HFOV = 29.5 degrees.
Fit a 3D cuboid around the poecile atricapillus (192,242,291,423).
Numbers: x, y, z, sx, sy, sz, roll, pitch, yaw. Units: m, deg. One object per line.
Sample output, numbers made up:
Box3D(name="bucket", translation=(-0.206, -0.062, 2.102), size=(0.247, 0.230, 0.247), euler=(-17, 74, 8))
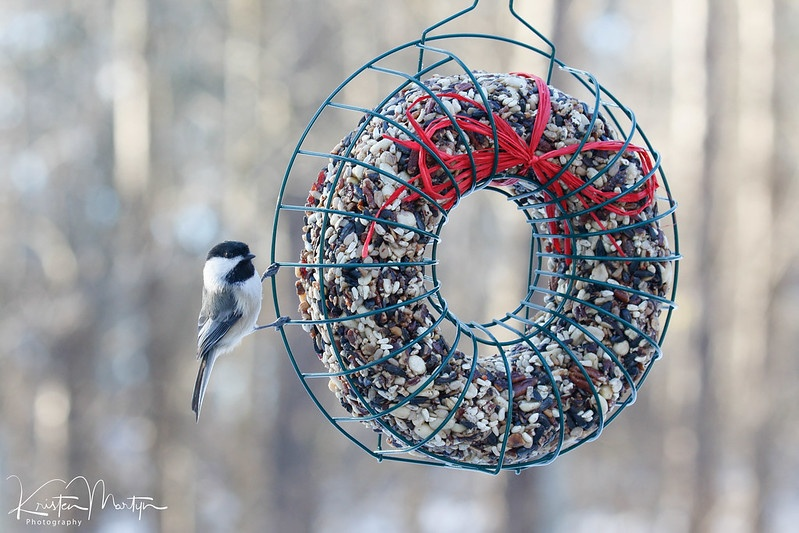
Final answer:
Box3D(name="poecile atricapillus", translation=(-0.821, 0.285, 7.098), size=(0.438, 0.774, 0.200), euler=(-4, -7, 35))
